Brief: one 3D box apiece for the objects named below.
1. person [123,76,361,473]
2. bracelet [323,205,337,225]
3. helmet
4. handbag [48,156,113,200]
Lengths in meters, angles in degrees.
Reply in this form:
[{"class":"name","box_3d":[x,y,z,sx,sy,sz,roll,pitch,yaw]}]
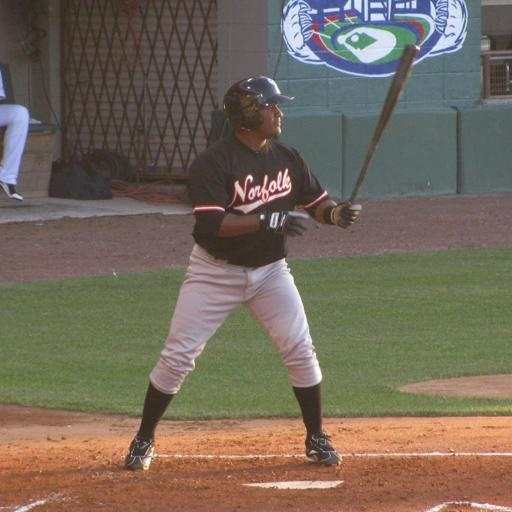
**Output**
[{"class":"person","box_3d":[-0.075,0.102,8.536,1.503,2.525,0.729,-3,12,-6]},{"class":"bracelet","box_3d":[0.496,-0.277,8.715,0.107,0.085,0.116,0,3,-10]},{"class":"helmet","box_3d":[0.013,-1.012,8.474,0.390,0.195,0.266,-13,0,9]},{"class":"handbag","box_3d":[-2.672,-1.174,19.686,0.938,0.480,1.662,-3,11,-7]}]
